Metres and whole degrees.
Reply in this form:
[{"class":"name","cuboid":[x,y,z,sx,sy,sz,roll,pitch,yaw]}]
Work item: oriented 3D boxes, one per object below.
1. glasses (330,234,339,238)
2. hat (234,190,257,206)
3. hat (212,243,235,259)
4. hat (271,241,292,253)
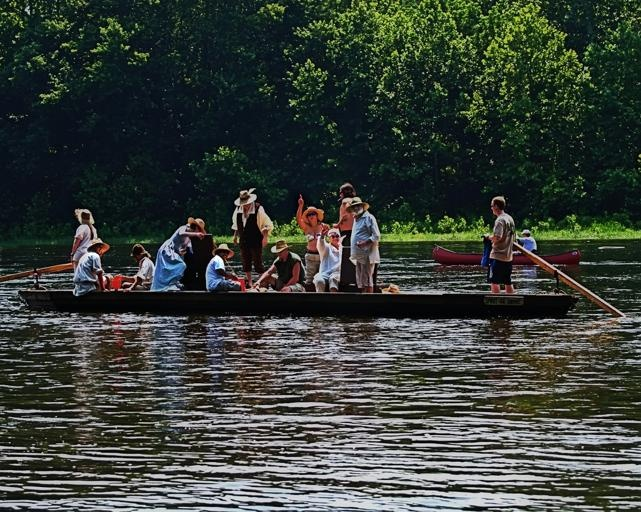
[{"class":"glasses","cuboid":[0.296,-0.390,29.579,0.057,0.074,0.224,10,16,40]},{"class":"hat","cuboid":[-1.632,-1.281,31.369,0.403,0.180,0.509,-3,29,18]},{"class":"hat","cuboid":[-2.017,-0.122,29.834,0.407,0.155,0.424,10,-39,-9]},{"class":"hat","cuboid":[-0.788,-0.143,29.527,0.387,0.139,0.327,-18,19,-19]}]
